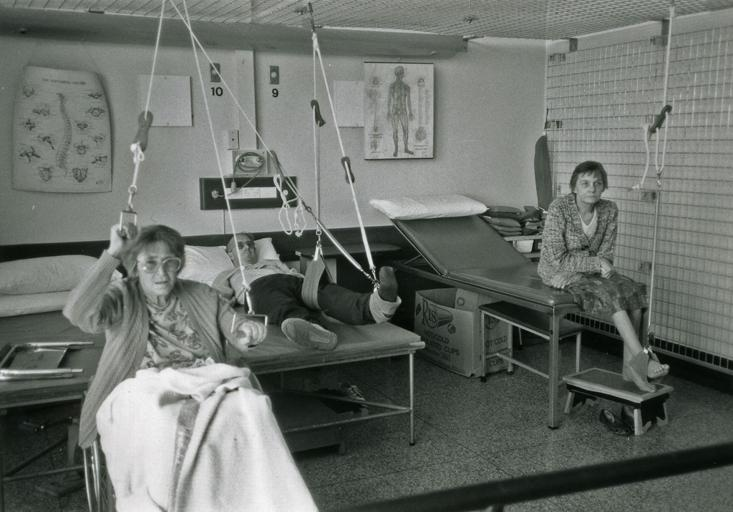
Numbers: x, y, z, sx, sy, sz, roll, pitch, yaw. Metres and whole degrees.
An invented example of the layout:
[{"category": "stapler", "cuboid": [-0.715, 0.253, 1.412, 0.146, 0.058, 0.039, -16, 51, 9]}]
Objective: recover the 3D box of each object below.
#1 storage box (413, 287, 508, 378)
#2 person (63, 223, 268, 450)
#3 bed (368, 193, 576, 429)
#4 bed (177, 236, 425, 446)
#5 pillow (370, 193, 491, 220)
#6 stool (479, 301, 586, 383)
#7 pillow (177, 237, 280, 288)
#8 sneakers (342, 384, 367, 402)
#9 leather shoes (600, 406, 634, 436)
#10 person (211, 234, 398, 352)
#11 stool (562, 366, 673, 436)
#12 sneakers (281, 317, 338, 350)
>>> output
[{"category": "storage box", "cuboid": [0.824, 0.554, 4.974, 0.485, 0.686, 0.835, -10, 11, -32]}, {"category": "person", "cuboid": [-0.951, 0.391, 2.843, 0.771, 1.075, 0.953, -14, -14, 39]}, {"category": "bed", "cuboid": [1.092, 0.262, 4.873, 0.982, 1.373, 1.996, -12, 16, -34]}, {"category": "bed", "cuboid": [-0.414, 0.766, 4.028, 1.125, 0.783, 1.649, -7, -2, -17]}, {"category": "pillow", "cuboid": [0.571, -0.425, 5.147, 0.671, 0.109, 0.408, -4, 16, -18]}, {"category": "stool", "cuboid": [1.260, 0.676, 4.555, 0.362, 0.487, 0.612, -8, 13, -33]}, {"category": "pillow", "cuboid": [-1.071, 0.004, 5.146, 0.222, 0.386, 0.598, -33, -43, 25]}, {"category": "sneakers", "cuboid": [-0.092, 0.959, 4.152, 0.108, 0.051, 0.158, 1, 3, -12]}, {"category": "leather shoes", "cuboid": [1.675, 1.102, 3.930, 0.115, 0.070, 0.184, -42, 36, -3]}, {"category": "person", "cuboid": [-0.659, 0.218, 4.309, 1.125, 0.665, 1.848, -14, 11, -34]}, {"category": "stool", "cuboid": [1.689, 0.977, 4.017, 0.604, 0.276, 0.348, 11, 16, 43]}, {"category": "sneakers", "cuboid": [-0.343, 0.479, 3.621, 0.367, 0.146, 0.151, 11, 12, 4]}]
